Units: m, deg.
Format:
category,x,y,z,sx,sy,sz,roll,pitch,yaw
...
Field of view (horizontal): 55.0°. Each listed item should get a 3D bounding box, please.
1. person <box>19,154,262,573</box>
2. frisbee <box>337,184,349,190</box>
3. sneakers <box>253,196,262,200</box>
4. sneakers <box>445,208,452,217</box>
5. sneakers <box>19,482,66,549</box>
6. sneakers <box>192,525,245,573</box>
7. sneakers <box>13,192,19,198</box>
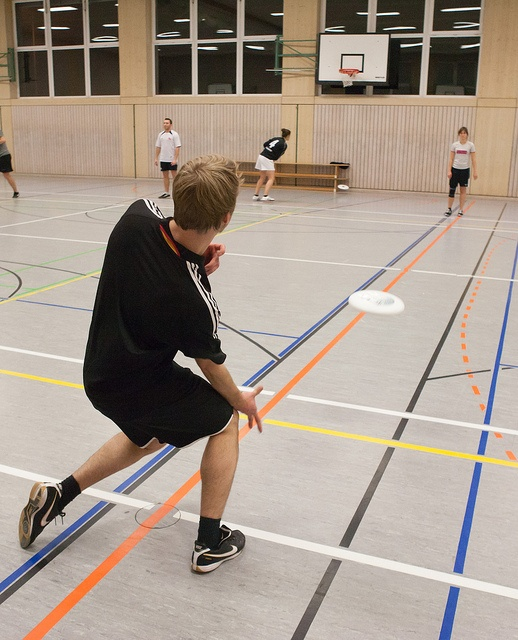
category,x,y,z,sx,sy,sz,roll,pitch,yaw
person,-0.345,0.157,1.555,0.658,1.278,0.348,4,15,11
frisbee,2.694,-4.247,15.961,0.265,0.196,0.410,11,17,33
sneakers,-0.073,-3.307,13.511,0.106,0.127,0.307,5,16,16
sneakers,4.368,-2.450,11.367,0.155,0.186,0.455,-1,5,20
sneakers,-0.717,0.612,1.672,0.124,0.276,0.095,7,27,-41
sneakers,-0.124,0.726,1.665,0.081,0.097,0.225,8,15,33
sneakers,-6.342,-3.236,12.923,0.098,0.120,0.280,-3,10,-6
